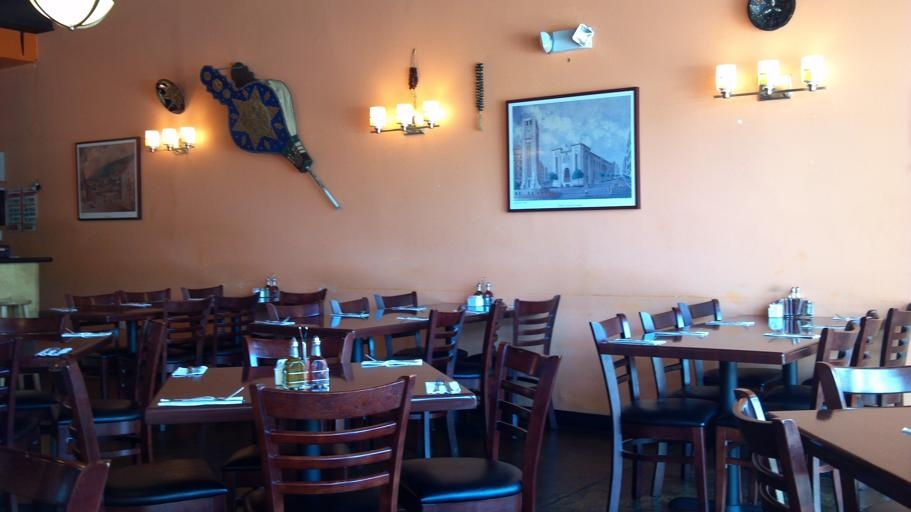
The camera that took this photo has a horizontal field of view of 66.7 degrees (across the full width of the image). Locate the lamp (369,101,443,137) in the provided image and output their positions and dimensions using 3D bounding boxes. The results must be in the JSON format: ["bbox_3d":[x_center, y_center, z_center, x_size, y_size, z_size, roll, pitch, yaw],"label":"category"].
[{"bbox_3d":[-0.593,-1.597,8.011,0.919,0.373,0.293,6,16,26],"label":"lamp"}]

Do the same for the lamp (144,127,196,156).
[{"bbox_3d":[-3.841,-1.553,9.260,0.895,0.344,0.232,5,16,25],"label":"lamp"}]

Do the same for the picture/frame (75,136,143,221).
[{"bbox_3d":[-4.831,-1.098,9.701,1.351,1.115,0.137,1,5,23],"label":"picture/frame"}]
